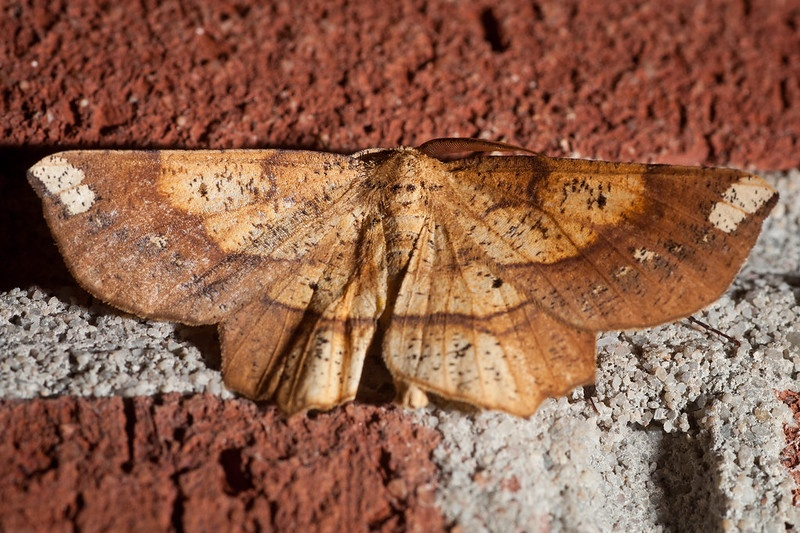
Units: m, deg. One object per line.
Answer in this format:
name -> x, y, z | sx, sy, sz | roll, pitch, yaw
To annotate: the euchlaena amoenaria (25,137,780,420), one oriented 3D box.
euchlaena amoenaria -> -0.007, 0.001, 2.814 | 2.207, 0.568, 0.907 | 2, 84, 1
